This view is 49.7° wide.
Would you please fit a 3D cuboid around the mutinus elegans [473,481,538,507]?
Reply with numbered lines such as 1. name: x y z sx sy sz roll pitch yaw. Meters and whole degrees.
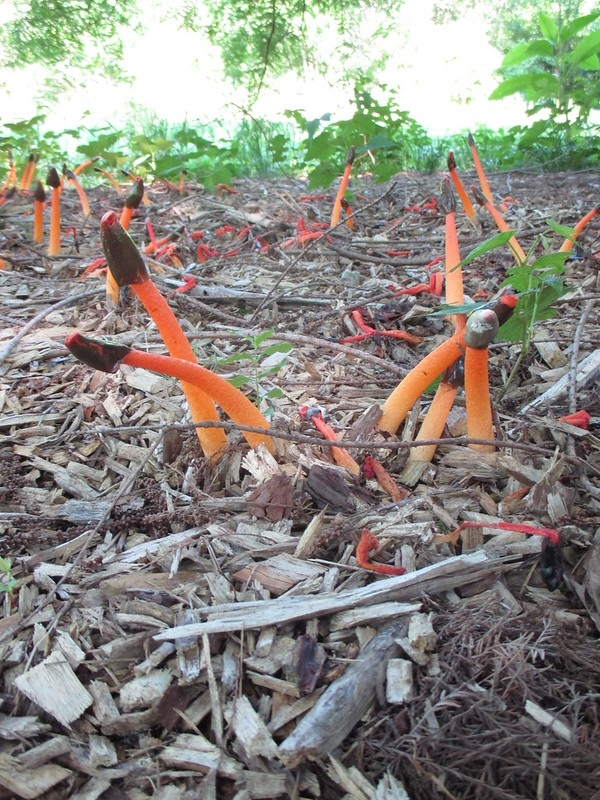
1. mutinus elegans: 0.625 0.285 1.951 0.116 0.021 0.032 -28 -10 -14

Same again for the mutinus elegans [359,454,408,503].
1. mutinus elegans: 0.258 0.247 2.033 0.072 0.057 0.213 0 21 -32

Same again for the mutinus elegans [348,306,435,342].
1. mutinus elegans: 0.382 -0.316 3.085 0.371 0.132 0.096 14 -3 27

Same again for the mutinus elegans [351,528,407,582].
1. mutinus elegans: 0.202 0.412 1.755 0.114 0.114 0.174 -8 10 -18

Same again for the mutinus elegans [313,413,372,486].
1. mutinus elegans: 0.103 0.155 2.141 0.102 0.080 0.343 28 21 -37
